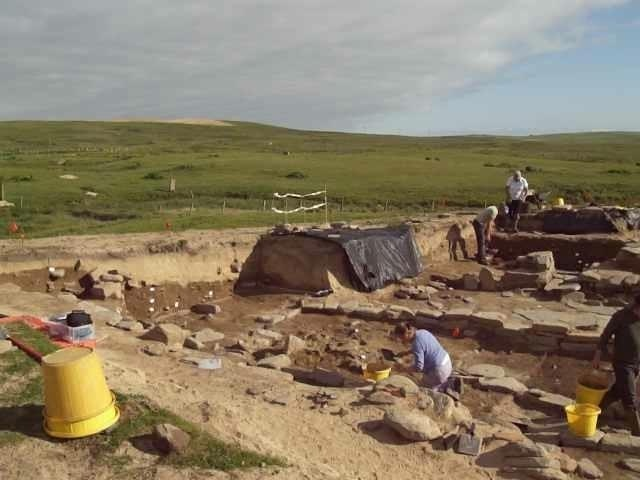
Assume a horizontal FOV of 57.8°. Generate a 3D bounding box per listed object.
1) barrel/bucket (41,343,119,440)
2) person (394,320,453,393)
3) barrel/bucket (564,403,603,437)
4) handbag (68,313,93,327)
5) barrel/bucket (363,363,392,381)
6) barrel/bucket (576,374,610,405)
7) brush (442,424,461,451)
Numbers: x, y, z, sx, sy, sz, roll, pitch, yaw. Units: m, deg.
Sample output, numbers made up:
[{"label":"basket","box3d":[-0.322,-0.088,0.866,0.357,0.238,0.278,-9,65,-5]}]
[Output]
[{"label":"barrel/bucket","box3d":[-3.158,1.919,8.013,1.188,1.097,1.135,-13,10,2]},{"label":"person","box3d":[1.834,2.089,10.166,0.658,0.472,1.078,15,-23,34]},{"label":"barrel/bucket","box3d":[4.016,2.710,8.765,0.537,0.338,0.481,-3,3,-12]},{"label":"handbag","box3d":[-3.780,1.224,9.033,0.280,0.128,0.255,2,-1,-5]},{"label":"barrel/bucket","box3d":[1.008,2.347,10.370,0.453,0.210,0.451,5,9,-1]},{"label":"barrel/bucket","box3d":[4.308,2.415,9.126,0.432,0.318,0.482,11,12,41]},{"label":"brush","box3d":[1.946,2.884,8.468,0.191,0.079,0.280,-2,12,23]}]
